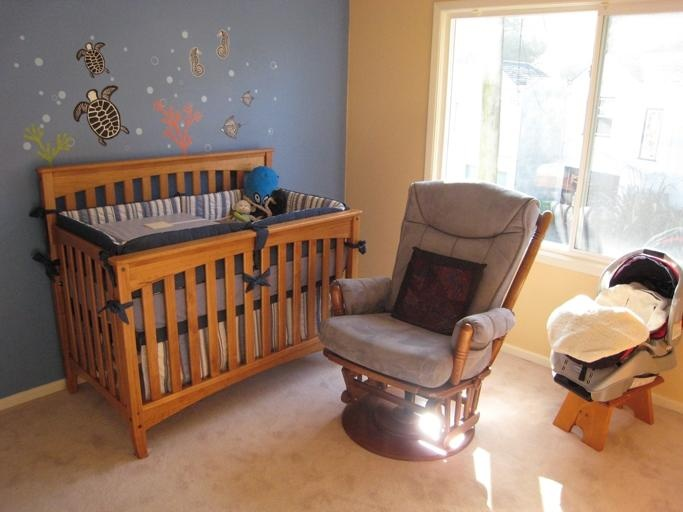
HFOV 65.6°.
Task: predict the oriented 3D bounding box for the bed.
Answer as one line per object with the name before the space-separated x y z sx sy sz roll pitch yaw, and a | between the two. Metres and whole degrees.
bed | -0.817 0.125 3.321 1.018 1.360 1.694 20 24 38

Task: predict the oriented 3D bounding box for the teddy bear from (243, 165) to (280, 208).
teddy bear | -0.552 -0.511 3.758 0.271 0.314 0.359 -6 4 -30

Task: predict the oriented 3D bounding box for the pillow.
pillow | 0.542 0.164 2.992 0.549 0.523 0.113 37 -6 -40

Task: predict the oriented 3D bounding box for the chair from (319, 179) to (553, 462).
chair | 0.444 0.296 2.916 0.877 1.279 1.013 19 27 40

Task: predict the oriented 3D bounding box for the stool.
stool | 1.441 0.884 2.988 0.399 0.249 0.301 10 9 -40
